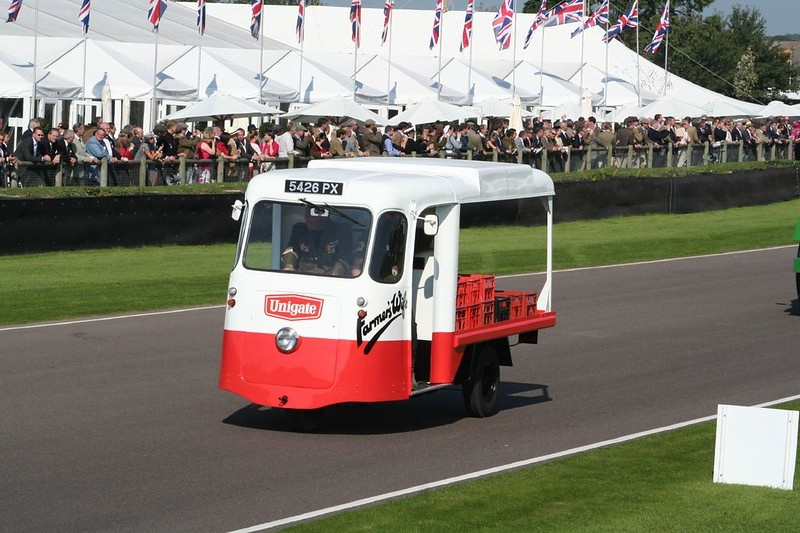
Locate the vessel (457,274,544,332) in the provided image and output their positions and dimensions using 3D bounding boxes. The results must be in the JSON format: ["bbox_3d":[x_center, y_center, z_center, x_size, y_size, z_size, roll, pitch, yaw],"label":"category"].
[{"bbox_3d":[1.407,0.587,17.480,0.668,0.419,1.165,3,7,31],"label":"vessel"}]

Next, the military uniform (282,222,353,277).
[{"bbox_3d":[-1.221,-0.246,16.296,0.941,0.959,0.766,6,-8,6],"label":"military uniform"}]

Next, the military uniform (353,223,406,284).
[{"bbox_3d":[-0.171,-0.236,16.292,0.629,0.961,0.185,-6,12,-35],"label":"military uniform"}]

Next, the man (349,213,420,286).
[{"bbox_3d":[-0.167,-0.231,16.411,0.533,0.153,1.431,3,50,3],"label":"man"}]
